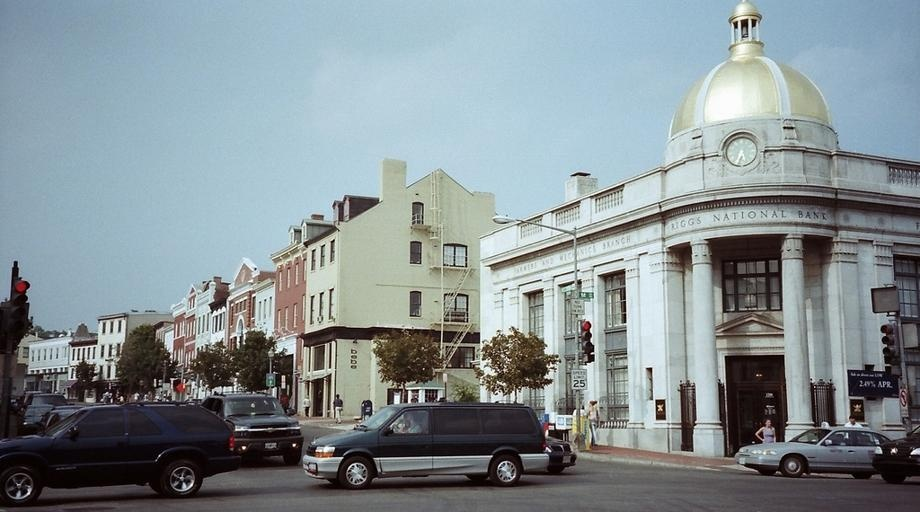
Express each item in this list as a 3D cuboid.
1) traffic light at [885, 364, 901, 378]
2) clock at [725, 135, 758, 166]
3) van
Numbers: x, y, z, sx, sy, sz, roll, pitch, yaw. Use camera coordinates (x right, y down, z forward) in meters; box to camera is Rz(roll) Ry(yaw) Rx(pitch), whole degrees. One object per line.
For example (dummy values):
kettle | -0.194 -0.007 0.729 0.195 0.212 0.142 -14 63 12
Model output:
traffic light | 22.522 5.911 47.781 0.660 0.520 0.920 2 4 29
clock | 14.758 -5.523 48.578 1.705 1.503 1.666 4 -13 -33
van | -1.427 7.635 37.179 8.900 2.948 3.890 5 -14 -13
